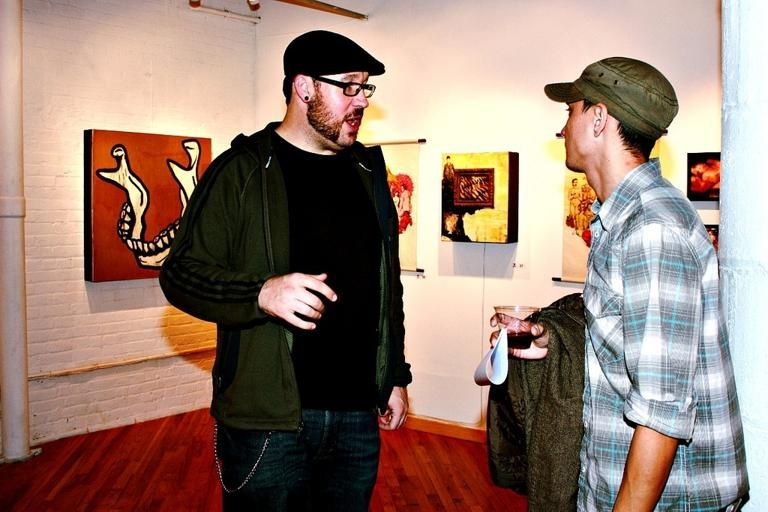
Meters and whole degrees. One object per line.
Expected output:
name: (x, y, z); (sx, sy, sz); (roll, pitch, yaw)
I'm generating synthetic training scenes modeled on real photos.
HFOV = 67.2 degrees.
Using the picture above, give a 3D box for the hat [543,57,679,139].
hat: (0.838, -0.575, 2.146); (0.401, 0.203, 0.274); (24, 19, 17)

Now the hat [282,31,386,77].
hat: (-0.238, -0.839, 2.448); (0.316, 0.129, 0.239); (-3, 10, 5)

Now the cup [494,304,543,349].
cup: (0.536, 0.273, 2.356); (0.163, 0.149, 0.169); (1, 1, 0)
